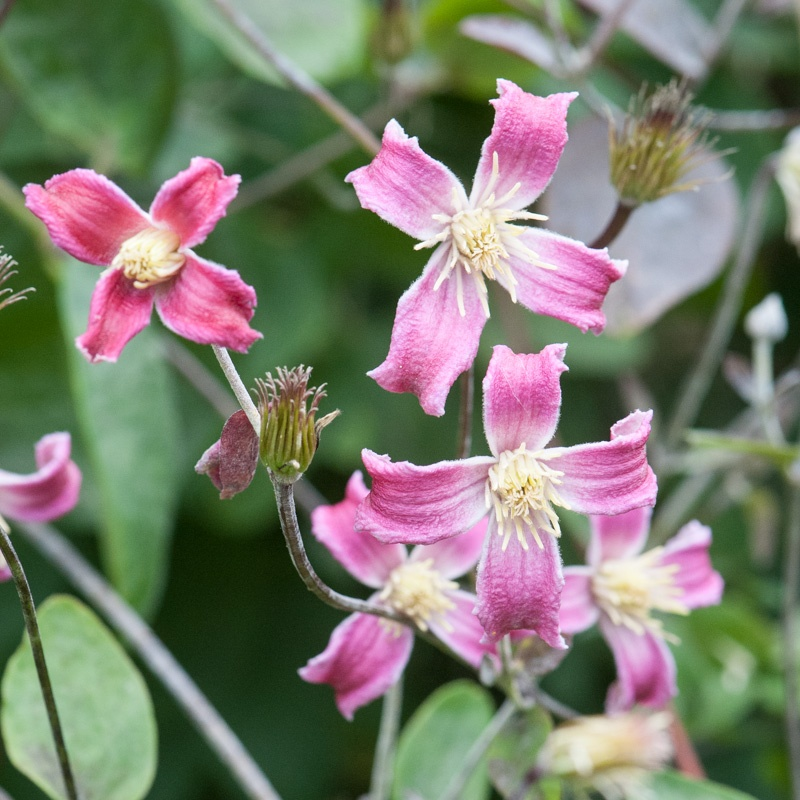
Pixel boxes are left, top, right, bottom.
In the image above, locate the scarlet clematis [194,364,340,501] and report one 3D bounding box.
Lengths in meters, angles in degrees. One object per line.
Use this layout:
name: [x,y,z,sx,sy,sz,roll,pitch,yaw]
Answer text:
scarlet clematis: [-0.069,0.013,0.571,0.051,0.106,0.045,-3,21,-12]
